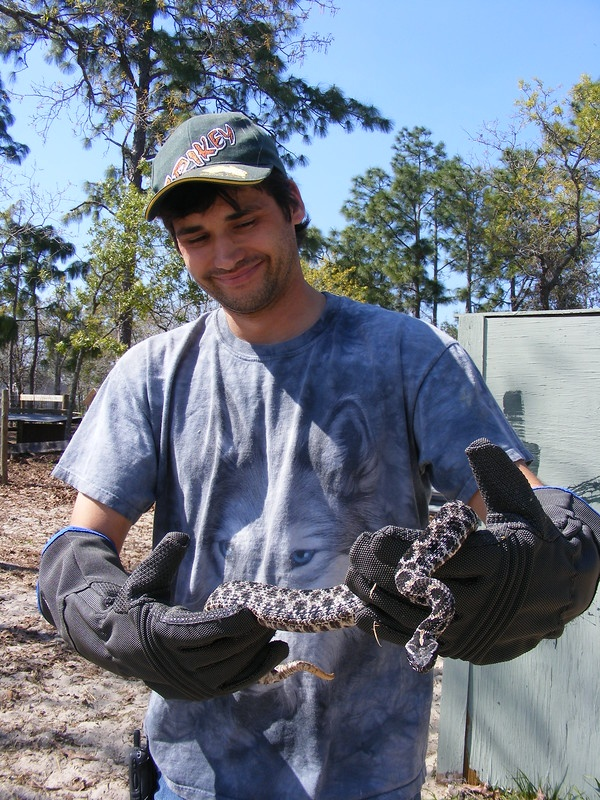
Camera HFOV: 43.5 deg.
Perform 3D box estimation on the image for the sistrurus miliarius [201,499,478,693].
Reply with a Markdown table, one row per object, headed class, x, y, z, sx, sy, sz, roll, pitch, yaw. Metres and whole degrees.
| class | x | y | z | sx | sy | sz | roll | pitch | yaw |
| --- | --- | --- | --- | --- | --- | --- | --- | --- | --- |
| sistrurus miliarius | 0.081 | 0.544 | 2.239 | 0.907 | 0.263 | 0.497 | -19 | -13 | 19 |
